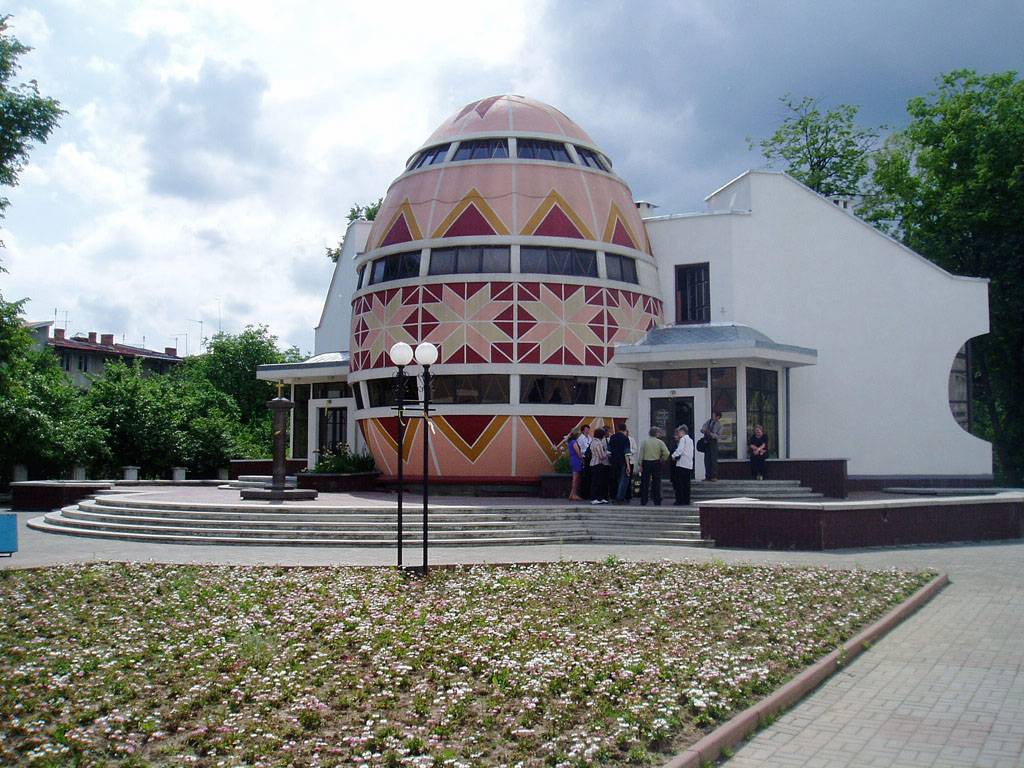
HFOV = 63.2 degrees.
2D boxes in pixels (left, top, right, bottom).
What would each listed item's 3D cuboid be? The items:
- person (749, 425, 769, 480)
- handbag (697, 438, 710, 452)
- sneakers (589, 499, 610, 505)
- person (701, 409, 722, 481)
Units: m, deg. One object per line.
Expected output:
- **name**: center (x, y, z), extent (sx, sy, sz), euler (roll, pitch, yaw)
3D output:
- **person**: center (7.203, 1.972, 24.494), extent (0.472, 1.494, 1.716), euler (0, 1, 15)
- **handbag**: center (5.440, 1.783, 23.656), extent (0.335, 0.415, 0.250), euler (0, 2, 13)
- **sneakers**: center (2.295, 3.204, 22.222), extent (0.468, 0.210, 0.166), euler (-7, -8, 22)
- **person**: center (5.633, 1.820, 23.932), extent (0.554, 1.945, 1.078), euler (0, 2, 16)
